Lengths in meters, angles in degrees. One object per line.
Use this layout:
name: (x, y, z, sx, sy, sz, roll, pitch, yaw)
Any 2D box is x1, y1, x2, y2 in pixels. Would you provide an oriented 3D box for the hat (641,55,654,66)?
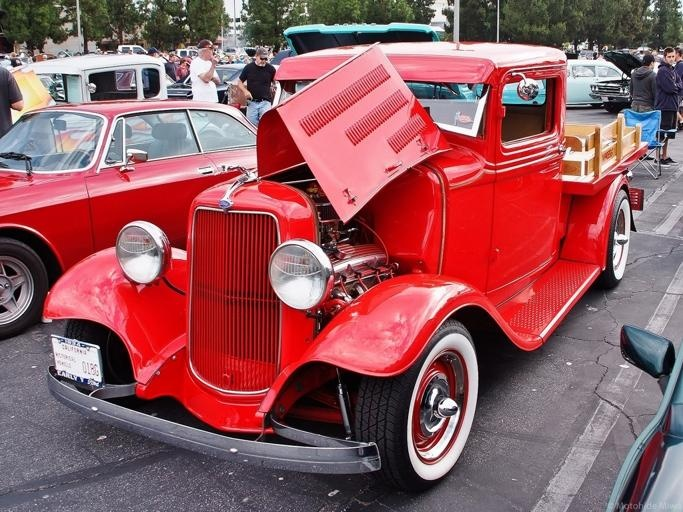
hat: (7.279, -4.635, 12.297, 0.249, 0.302, 0.306, 10, 33, 43)

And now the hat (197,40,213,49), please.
hat: (-2.682, -4.209, 10.307, 0.287, 0.172, 0.218, -21, 29, -20)

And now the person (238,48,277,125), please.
person: (-1.897, -3.842, 12.197, 0.880, 2.188, 0.700, -1, 42, -8)

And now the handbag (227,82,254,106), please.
handbag: (-2.324, -3.670, 11.798, 0.532, 0.361, 0.717, 7, 53, -17)
